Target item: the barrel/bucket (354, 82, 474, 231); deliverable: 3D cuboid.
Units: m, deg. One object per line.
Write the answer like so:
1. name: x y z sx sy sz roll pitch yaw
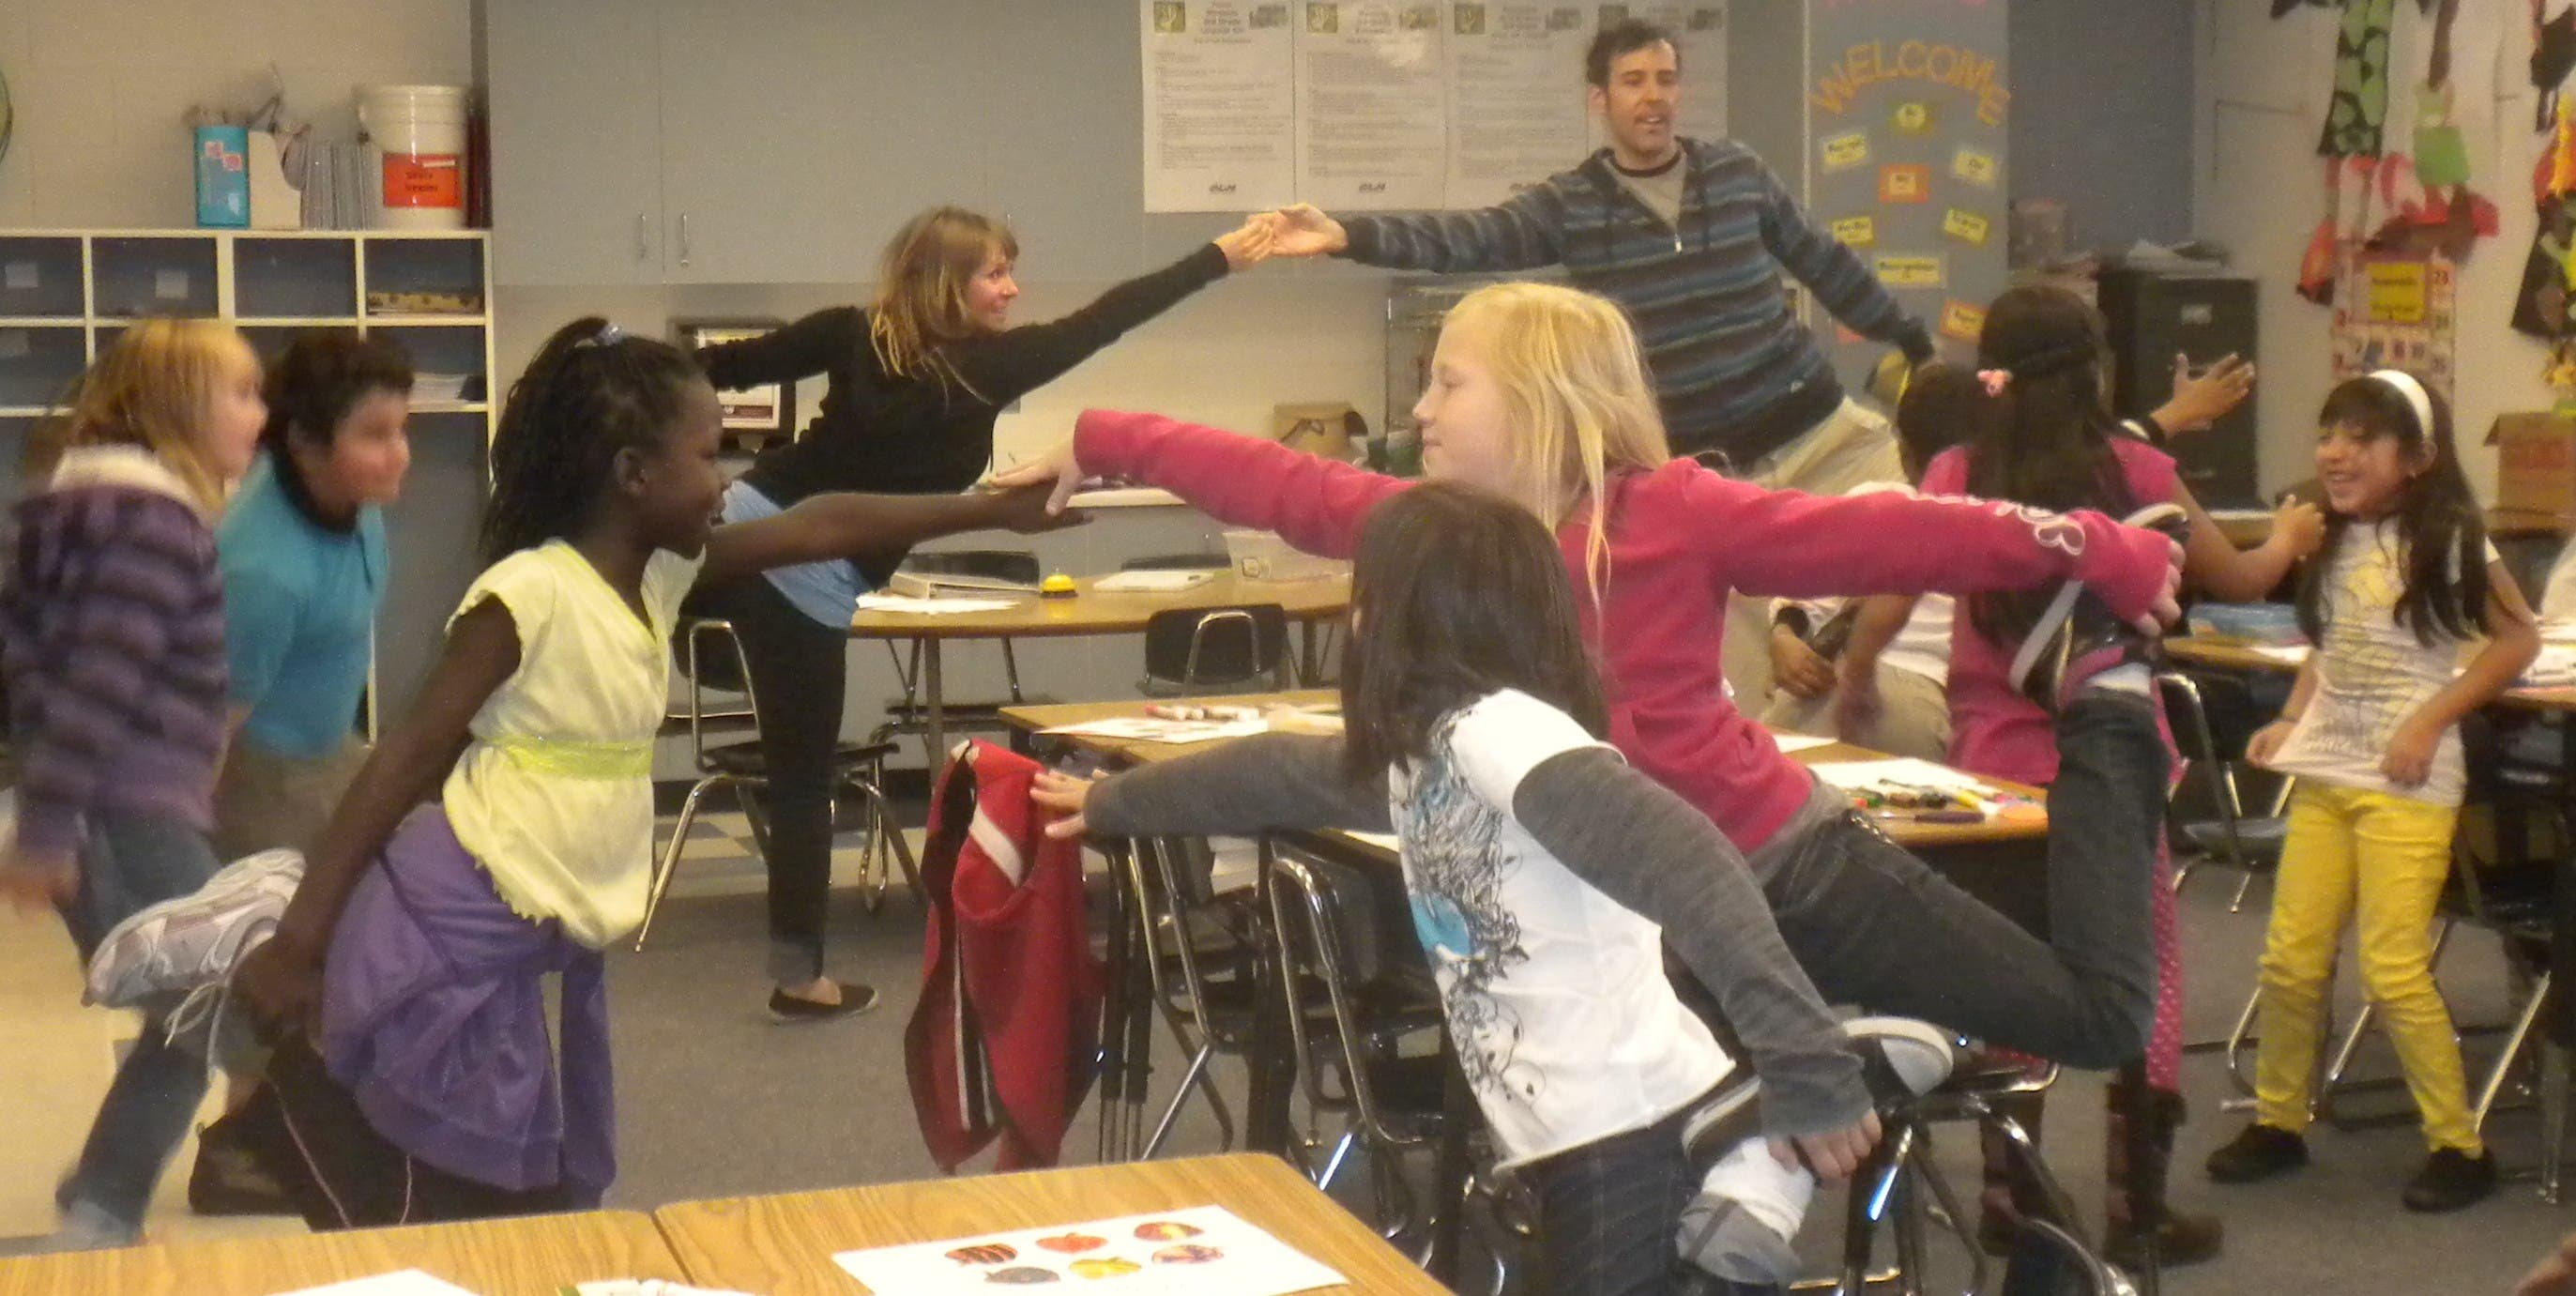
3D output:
1. barrel/bucket: -4.217 -2.311 9.712 0.735 0.691 0.590 -6 21 -31

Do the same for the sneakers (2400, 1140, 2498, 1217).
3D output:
1. sneakers: 3.418 1.552 6.103 0.372 0.140 0.135 -3 4 -23

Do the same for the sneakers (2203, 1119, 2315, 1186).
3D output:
1. sneakers: 2.929 1.510 6.249 0.370 0.121 0.134 -1 2 -21

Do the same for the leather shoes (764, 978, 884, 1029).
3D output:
1. leather shoes: -1.655 1.245 7.280 0.345 0.098 0.150 -3 6 -8
